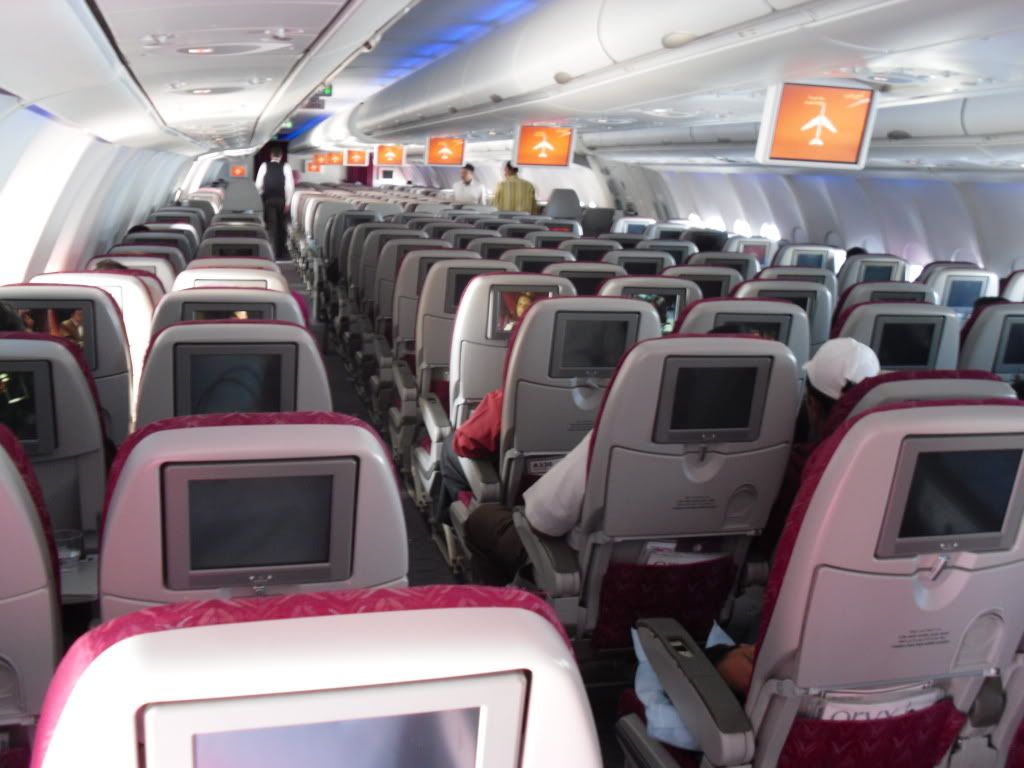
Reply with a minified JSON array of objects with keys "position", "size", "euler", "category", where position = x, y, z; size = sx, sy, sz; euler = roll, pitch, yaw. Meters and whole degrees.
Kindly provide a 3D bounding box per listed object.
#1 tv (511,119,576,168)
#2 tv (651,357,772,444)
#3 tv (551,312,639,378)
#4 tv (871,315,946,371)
[{"position":[0.508,-3.530,10.558],"size":[0.788,0.644,0.546],"euler":[0,9,-8],"category":"tv"},{"position":[0.578,0.041,2.101],"size":[0.313,0.223,0.038],"euler":[1,24,-17],"category":"tv"},{"position":[0.309,-0.157,2.703],"size":[0.321,0.241,0.056],"euler":[3,34,-18],"category":"tv"},{"position":[2.035,-0.219,3.640],"size":[0.302,0.349,0.199],"euler":[-1,30,-2],"category":"tv"}]
